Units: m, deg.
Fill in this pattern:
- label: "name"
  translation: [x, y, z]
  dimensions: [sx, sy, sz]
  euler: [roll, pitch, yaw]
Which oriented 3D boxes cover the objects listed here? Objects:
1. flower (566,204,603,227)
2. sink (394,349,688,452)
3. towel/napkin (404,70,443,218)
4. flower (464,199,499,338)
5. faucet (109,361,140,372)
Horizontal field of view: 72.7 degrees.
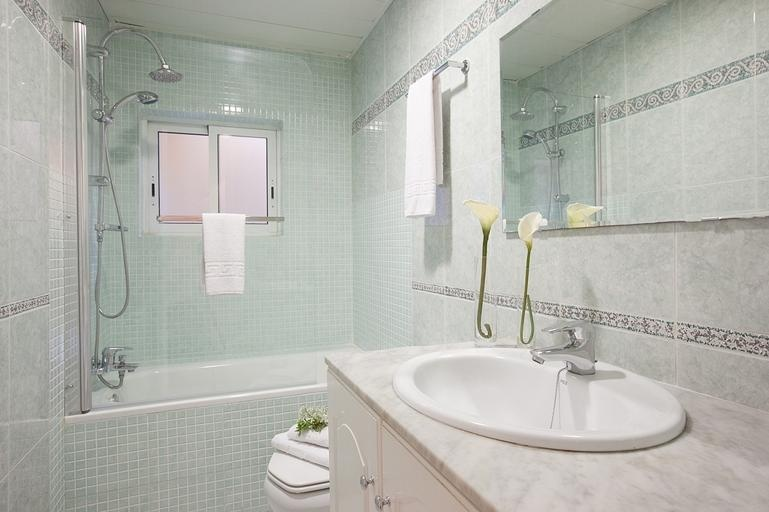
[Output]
- label: "flower"
  translation: [0.679, -0.140, 1.799]
  dimensions: [0.079, 0.058, 0.077]
  euler: [-3, 3, 3]
- label: "sink"
  translation: [0.432, 0.448, 1.563]
  dimensions: [0.804, 0.202, 0.472]
  euler: [2, 5, 33]
- label: "towel/napkin"
  translation: [0.173, -0.513, 2.434]
  dimensions: [0.188, 0.647, 0.212]
  euler: [1, 5, 17]
- label: "flower"
  translation: [0.396, 0.039, 2.095]
  dimensions: [0.119, 0.523, 0.343]
  euler: [0, 5, 13]
- label: "faucet"
  translation: [-1.424, 0.584, 2.825]
  dimensions: [0.098, 0.062, 0.066]
  euler: [4, -3, -23]
